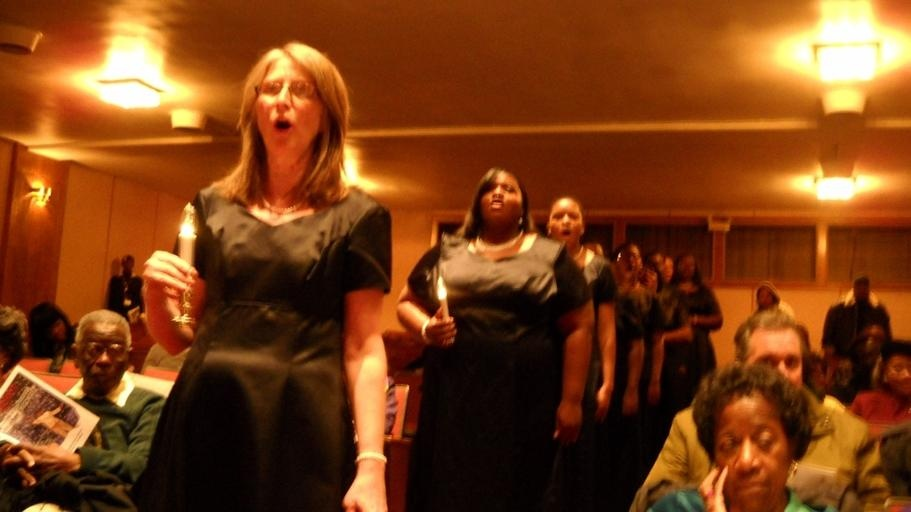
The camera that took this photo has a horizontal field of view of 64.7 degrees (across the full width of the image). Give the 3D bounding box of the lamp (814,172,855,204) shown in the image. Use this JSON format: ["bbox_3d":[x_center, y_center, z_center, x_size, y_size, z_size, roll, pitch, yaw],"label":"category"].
[{"bbox_3d":[5.042,-0.933,9.515,0.393,0.342,0.605,2,-9,18],"label":"lamp"}]

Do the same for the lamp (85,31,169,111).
[{"bbox_3d":[-3.416,-1.948,7.576,0.594,0.915,0.759,-2,-9,18],"label":"lamp"}]

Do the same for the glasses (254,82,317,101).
[{"bbox_3d":[-0.630,-0.630,2.747,0.118,0.031,0.112,0,-13,-1],"label":"glasses"}]

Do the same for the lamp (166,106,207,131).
[{"bbox_3d":[-3.212,-1.687,8.805,0.314,0.170,0.294,2,9,5],"label":"lamp"}]

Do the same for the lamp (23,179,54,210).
[{"bbox_3d":[-6.141,-0.928,10.688,0.372,0.433,0.382,5,-1,7],"label":"lamp"}]
